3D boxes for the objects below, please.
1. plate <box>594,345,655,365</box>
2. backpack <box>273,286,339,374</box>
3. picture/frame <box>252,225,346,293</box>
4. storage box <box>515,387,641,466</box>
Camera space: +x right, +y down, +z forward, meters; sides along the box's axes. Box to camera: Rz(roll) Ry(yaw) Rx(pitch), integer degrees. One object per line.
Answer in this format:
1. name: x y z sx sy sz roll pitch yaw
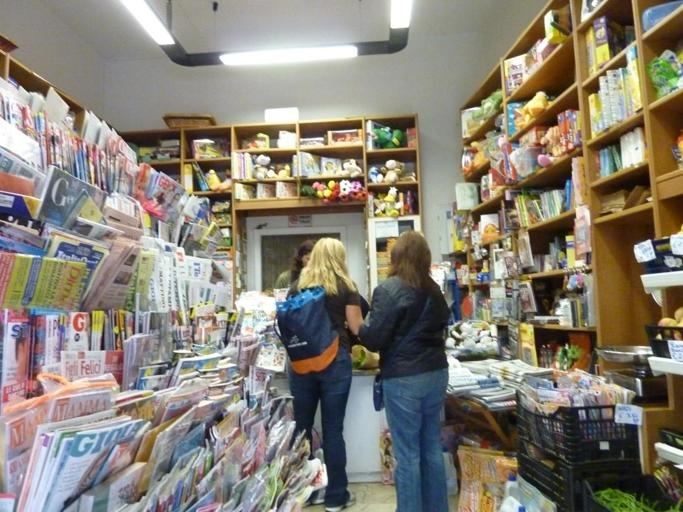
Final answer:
1. plate: 1.301 0.454 2.238 0.173 0.038 0.179 -2 -4 -30
2. backpack: -0.194 0.414 2.771 0.334 0.475 0.146 0 -9 -9
3. picture/frame: -0.369 0.025 4.145 0.648 0.714 0.030 -1 -8 -3
4. storage box: 0.966 0.714 2.073 0.222 0.205 0.400 -2 -2 -3
